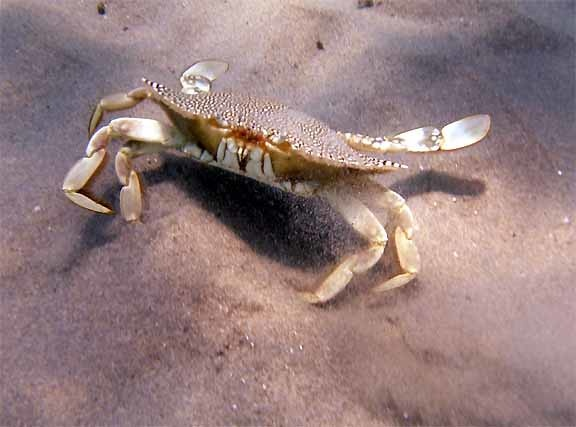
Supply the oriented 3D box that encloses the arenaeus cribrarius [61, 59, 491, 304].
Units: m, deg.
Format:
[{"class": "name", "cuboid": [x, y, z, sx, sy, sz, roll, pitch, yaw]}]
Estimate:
[{"class": "arenaeus cribrarius", "cuboid": [-0.033, -0.186, 2.204, 1.132, 0.275, 0.733, 21, 73, 7]}]
